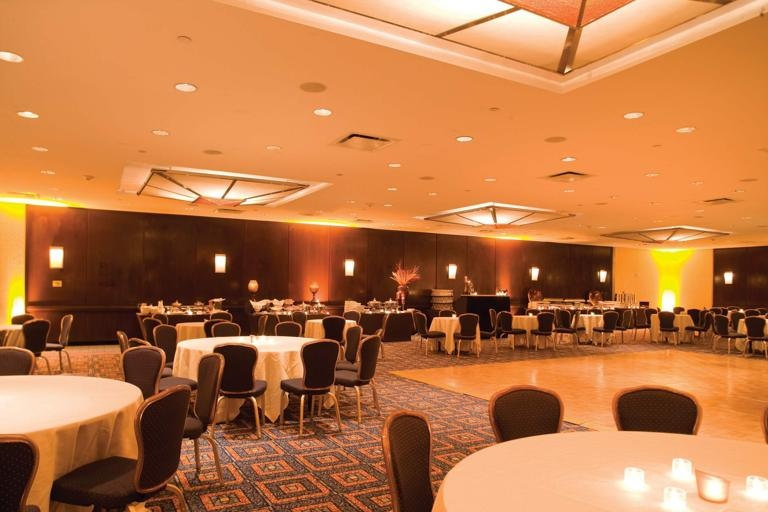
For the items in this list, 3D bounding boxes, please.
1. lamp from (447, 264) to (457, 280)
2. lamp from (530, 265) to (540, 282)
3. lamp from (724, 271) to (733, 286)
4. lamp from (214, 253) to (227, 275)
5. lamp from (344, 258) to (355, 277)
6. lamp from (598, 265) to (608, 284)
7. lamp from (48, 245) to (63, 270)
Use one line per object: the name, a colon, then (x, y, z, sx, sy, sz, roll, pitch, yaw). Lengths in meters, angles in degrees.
lamp: (2.395, 0.540, 17.619, 0.464, 0.540, 0.132, 6, -7, -42)
lamp: (5.699, 0.684, 19.227, 0.480, 0.572, 0.115, 5, -6, -36)
lamp: (13.686, 0.867, 20.247, 0.091, 0.539, 0.322, 6, -7, -44)
lamp: (-4.579, 0.215, 14.385, 0.352, 0.552, 0.121, 4, -5, -25)
lamp: (-1.048, 0.367, 15.934, 0.367, 0.548, 0.127, 3, -5, -18)
lamp: (8.935, 0.821, 20.842, 0.563, 0.692, 0.602, -2, -1, 22)
lamp: (-8.128, 0.038, 12.720, 0.322, 0.576, 0.164, 5, -6, -32)
